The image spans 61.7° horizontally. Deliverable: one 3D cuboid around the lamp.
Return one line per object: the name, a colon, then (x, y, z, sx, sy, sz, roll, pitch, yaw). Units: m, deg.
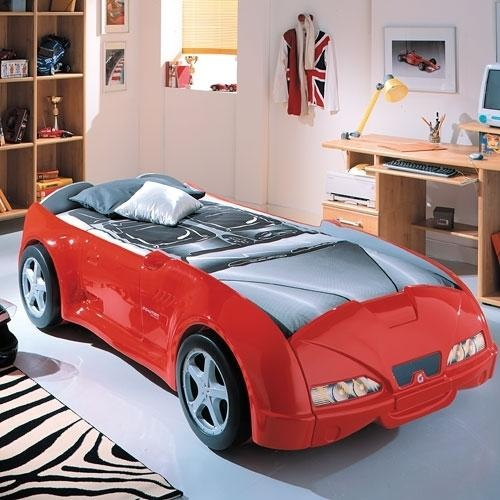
lamp: (1.076, -1.238, 3.651, 0.602, 0.510, 0.214, 2, 22, 27)

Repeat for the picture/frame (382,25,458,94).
picture/frame: (1.470, -1.595, 3.586, 0.069, 0.577, 0.849, -13, 22, -30)

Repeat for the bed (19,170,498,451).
bed: (0.183, -0.038, 2.559, 2.779, 0.750, 1.879, 5, 12, 24)
